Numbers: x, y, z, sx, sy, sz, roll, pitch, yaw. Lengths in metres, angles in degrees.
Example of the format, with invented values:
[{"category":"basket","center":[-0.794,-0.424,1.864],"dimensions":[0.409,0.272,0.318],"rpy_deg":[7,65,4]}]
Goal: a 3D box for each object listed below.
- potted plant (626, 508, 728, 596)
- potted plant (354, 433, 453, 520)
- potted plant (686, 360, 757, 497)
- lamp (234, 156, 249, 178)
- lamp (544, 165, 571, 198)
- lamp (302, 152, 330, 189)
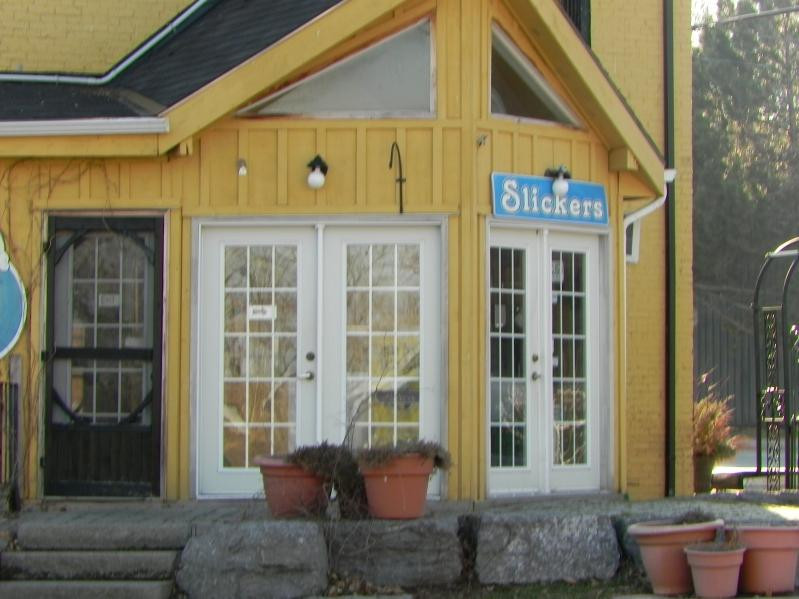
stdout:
[{"category":"potted plant","center":[2.679,2.614,12.813],"dimensions":[0.696,0.645,0.761],"rpy_deg":[1,-16,-5]},{"category":"potted plant","center":[0.026,1.790,12.975],"dimensions":[0.680,0.663,0.790],"rpy_deg":[2,-10,-13]},{"category":"potted plant","center":[4.655,1.812,17.891],"dimensions":[1.225,2.405,1.131],"rpy_deg":[0,-8,13]},{"category":"lamp","center":[-1.705,-1.456,13.966],"dimensions":[0.130,0.326,0.194],"rpy_deg":[-1,1,-9]},{"category":"lamp","center":[1.754,-1.305,14.375],"dimensions":[0.277,0.444,0.290],"rpy_deg":[1,-6,-5]},{"category":"lamp","center":[-0.894,-1.408,13.901],"dimensions":[0.209,0.371,0.315],"rpy_deg":[1,-1,-5]}]
